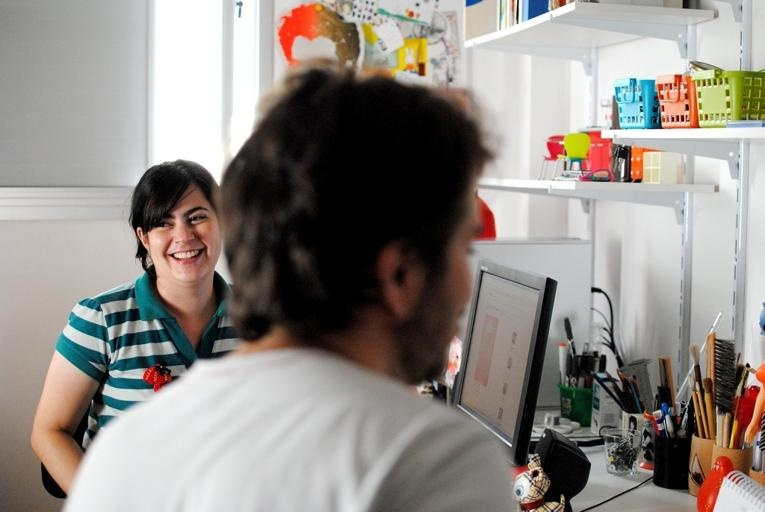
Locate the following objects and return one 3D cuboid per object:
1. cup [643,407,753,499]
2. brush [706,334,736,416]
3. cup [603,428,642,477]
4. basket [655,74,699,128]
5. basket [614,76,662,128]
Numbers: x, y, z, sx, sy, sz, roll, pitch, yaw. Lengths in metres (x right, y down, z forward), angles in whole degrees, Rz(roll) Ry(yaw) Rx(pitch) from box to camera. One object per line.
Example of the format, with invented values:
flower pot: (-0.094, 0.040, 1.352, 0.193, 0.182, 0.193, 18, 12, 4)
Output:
cup: (0.742, 0.491, 1.360, 0.094, 0.130, 0.175, 0, 5, -3)
brush: (0.804, 0.262, 1.321, 0.037, 0.180, 0.045, -20, 16, -42)
cup: (0.635, 0.520, 1.493, 0.093, 0.122, 0.109, -2, 3, 4)
basket: (0.736, -0.374, 1.395, 0.120, 0.115, 0.103, -5, 5, -43)
basket: (0.684, -0.408, 1.523, 0.066, 0.135, 0.166, -3, 8, -19)
